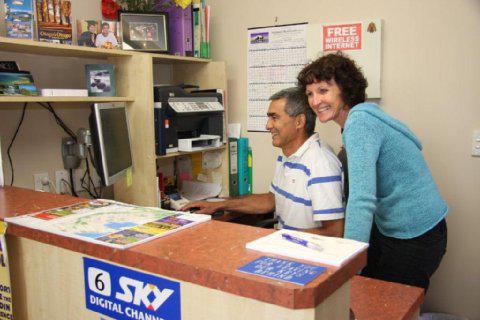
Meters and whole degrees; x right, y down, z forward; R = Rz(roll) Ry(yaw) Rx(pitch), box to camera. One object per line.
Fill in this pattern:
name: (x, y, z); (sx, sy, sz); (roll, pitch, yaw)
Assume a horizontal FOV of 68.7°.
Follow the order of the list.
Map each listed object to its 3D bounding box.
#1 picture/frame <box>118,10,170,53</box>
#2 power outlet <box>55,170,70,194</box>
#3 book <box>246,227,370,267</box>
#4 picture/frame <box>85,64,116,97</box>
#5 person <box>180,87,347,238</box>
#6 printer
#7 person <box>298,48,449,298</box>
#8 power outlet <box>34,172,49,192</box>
picture/frame: (-0.764, -1.011, 2.739); (0.432, 0.331, 0.033); (-3, -2, -40)
power outlet: (-1.341, 0.166, 2.663); (0.103, 0.178, 0.047); (-11, 15, -38)
book: (0.248, 0.324, 1.301); (0.299, 0.021, 0.219); (6, 10, 40)
picture/frame: (-1.010, -0.577, 2.547); (0.273, 0.321, 0.026); (-3, 1, -22)
person: (0.244, -0.013, 2.773); (1.079, 1.427, 1.029); (1, -1, -24)
printer: (-0.415, -0.333, 2.889); (0.329, 0.423, 0.607); (5, 9, 34)
person: (0.792, 0.106, 1.983); (0.724, 1.425, 0.704); (-4, 12, -10)
power outlet: (-1.434, 0.159, 2.530); (0.075, 0.135, 0.138); (3, 5, 32)
